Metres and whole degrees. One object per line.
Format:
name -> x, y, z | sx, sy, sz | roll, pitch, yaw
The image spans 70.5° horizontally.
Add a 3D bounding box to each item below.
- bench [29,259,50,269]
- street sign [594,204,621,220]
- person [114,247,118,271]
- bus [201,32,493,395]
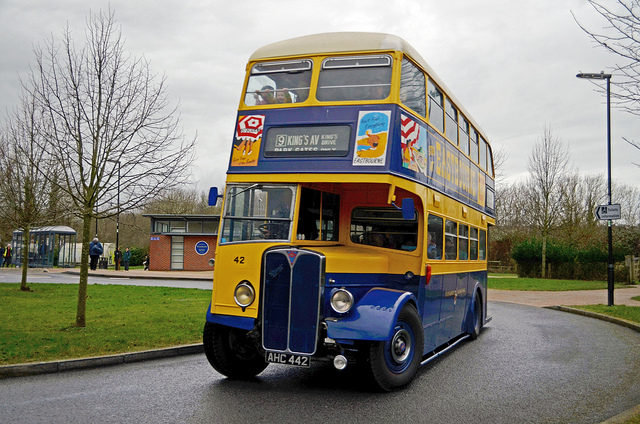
bench -> -25.907, 4.708, 41.869 | 2.738, 0.759, 0.594 | -3, -7, 33
street sign -> 11.922, -0.031, 18.772 | 0.153, 0.656, 1.021 | 8, -9, -34
person -> -17.003, 4.008, 38.070 | 0.226, 1.508, 0.980 | 3, -6, -21
bus -> 0.431, 0.261, 8.265 | 2.528, 4.341, 6.409 | -2, -4, 26
